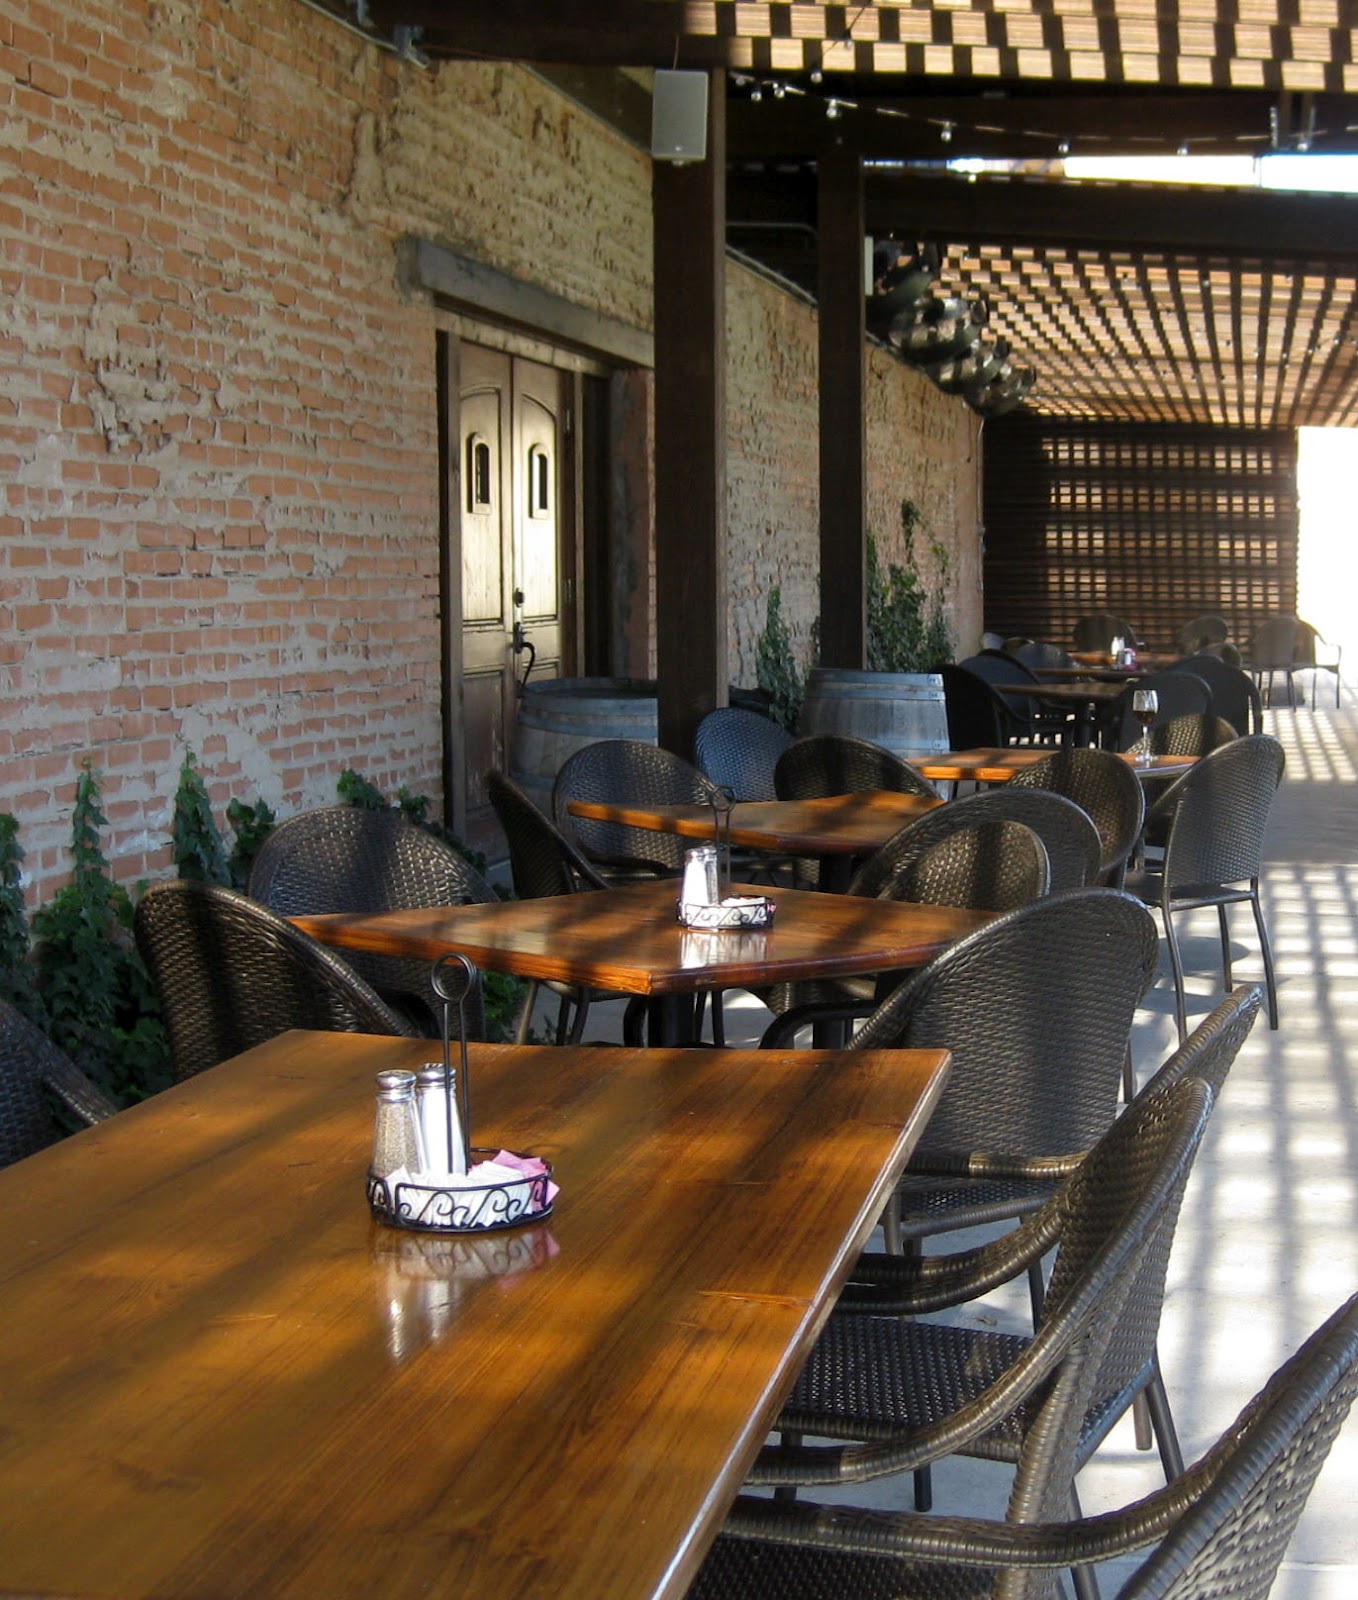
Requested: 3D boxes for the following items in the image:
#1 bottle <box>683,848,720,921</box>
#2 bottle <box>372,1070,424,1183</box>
[{"bbox_3d":[0.042,0.156,2.441,0.073,0.134,0.172,0,3,2],"label":"bottle"},{"bbox_3d":[-0.238,0.270,1.079,0.041,0.086,0.049,-2,4,-26],"label":"bottle"}]
